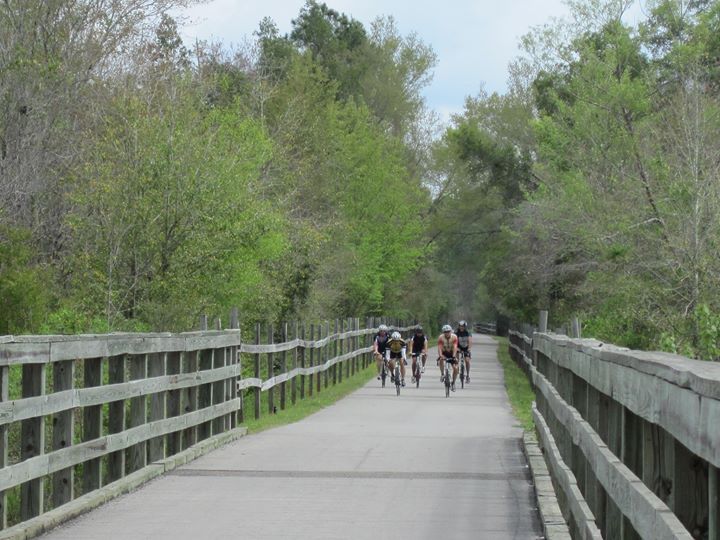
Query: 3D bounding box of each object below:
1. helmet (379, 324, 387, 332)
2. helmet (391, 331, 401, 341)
[{"bbox_3d":[0.810,1.983,27.880,0.316,0.195,0.522,0,0,2],"label":"helmet"},{"bbox_3d":[1.160,2.058,25.504,0.197,0.332,0.303,-1,-7,2],"label":"helmet"}]
